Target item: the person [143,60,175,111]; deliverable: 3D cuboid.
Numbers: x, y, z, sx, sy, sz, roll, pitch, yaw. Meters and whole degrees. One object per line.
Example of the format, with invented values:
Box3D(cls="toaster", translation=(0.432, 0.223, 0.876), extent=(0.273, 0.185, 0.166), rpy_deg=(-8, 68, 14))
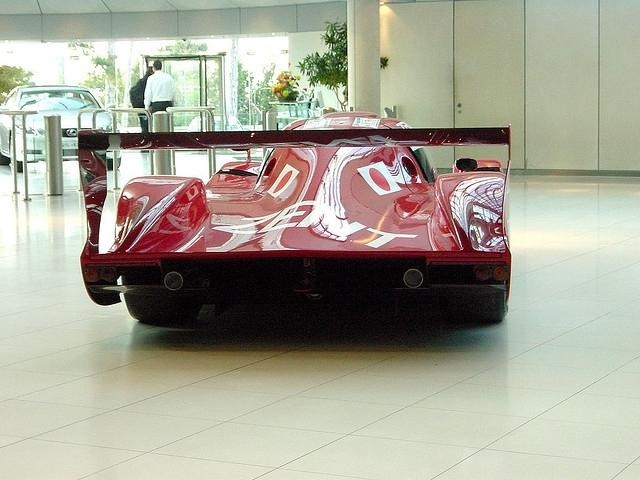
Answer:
Box3D(cls="person", translation=(-4.479, -4.278, 15.170), extent=(0.866, 1.502, 0.851), rpy_deg=(-6, 11, -13))
